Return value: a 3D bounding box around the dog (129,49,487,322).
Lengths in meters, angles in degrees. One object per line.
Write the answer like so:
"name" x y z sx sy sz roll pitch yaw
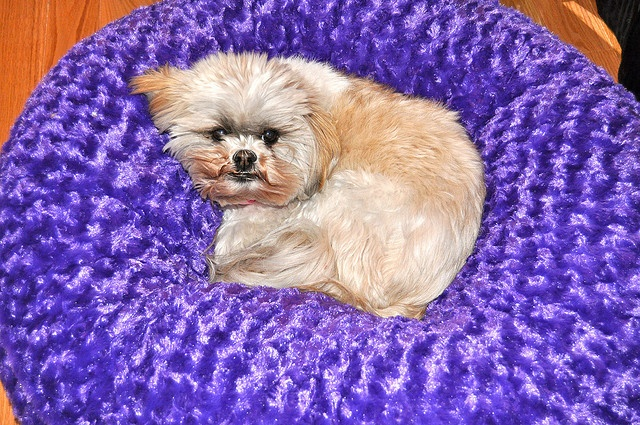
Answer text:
"dog" -0.016 -0.089 1.917 0.803 0.305 0.659 3 73 1
